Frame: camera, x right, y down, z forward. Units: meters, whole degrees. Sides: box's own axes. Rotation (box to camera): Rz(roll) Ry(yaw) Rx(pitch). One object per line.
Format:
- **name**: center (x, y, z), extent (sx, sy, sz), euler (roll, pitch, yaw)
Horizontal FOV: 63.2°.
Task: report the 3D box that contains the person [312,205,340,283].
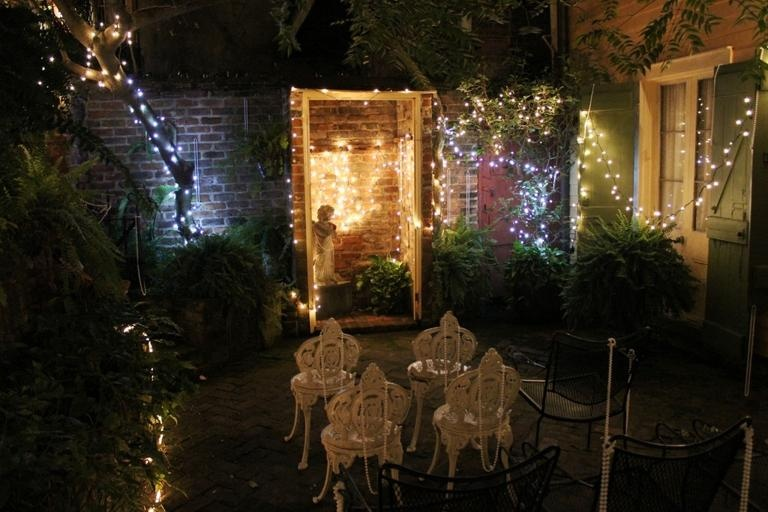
- **person**: center (-0.878, -0.147, 8.963), extent (0.396, 1.138, 0.269), euler (-4, 9, -28)
